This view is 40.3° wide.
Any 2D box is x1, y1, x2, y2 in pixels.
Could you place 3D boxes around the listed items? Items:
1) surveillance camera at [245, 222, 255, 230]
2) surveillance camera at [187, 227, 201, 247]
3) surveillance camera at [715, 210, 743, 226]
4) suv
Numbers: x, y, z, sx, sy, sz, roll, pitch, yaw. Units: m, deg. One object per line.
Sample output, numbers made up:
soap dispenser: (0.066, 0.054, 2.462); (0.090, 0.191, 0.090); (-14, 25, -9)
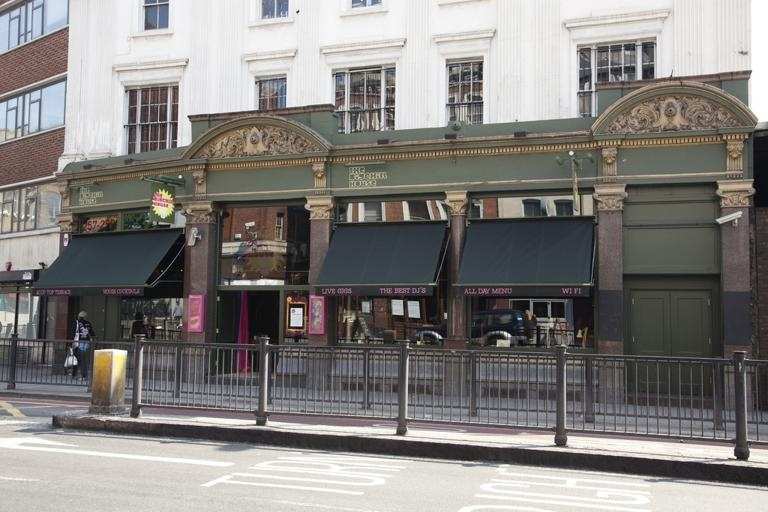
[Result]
surveillance camera: (-4.276, -1.003, 33.454); (0.401, 0.288, 0.065); (-4, -10, 28)
surveillance camera: (-6.072, -0.658, 33.532); (0.447, 0.627, 0.219); (-4, -10, 26)
surveillance camera: (9.688, -1.092, 29.464); (0.740, 0.445, 0.325); (-3, -9, 20)
suv: (2.812, 2.045, 31.114); (2.460, 1.051, 1.249); (1, -6, 14)
